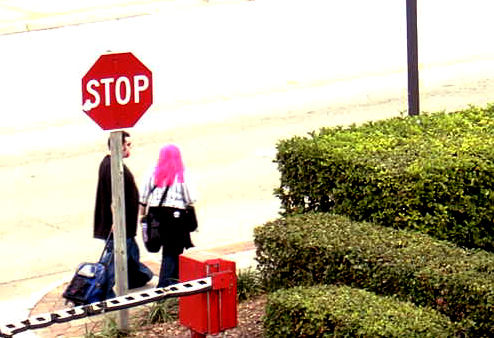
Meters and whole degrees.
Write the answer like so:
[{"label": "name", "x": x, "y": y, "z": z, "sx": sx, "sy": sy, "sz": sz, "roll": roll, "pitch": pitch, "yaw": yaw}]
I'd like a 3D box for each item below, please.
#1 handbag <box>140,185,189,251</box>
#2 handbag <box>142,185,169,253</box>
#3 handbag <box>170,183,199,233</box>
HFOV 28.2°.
[{"label": "handbag", "x": -1.717, "y": 1.001, "z": 20.237, "sx": 0.971, "sy": 1.215, "sz": 0.428, "roll": 3, "pitch": 6, "yaw": 11}, {"label": "handbag", "x": -1.994, "y": 1.067, "z": 20.306, "sx": 0.352, "sy": 1.176, "sz": 0.726, "roll": 11, "pitch": 5, "yaw": 16}, {"label": "handbag", "x": -1.232, "y": 0.875, "z": 20.607, "sx": 0.604, "sy": 0.885, "sz": 0.967, "roll": -11, "pitch": 13, "yaw": -5}]
